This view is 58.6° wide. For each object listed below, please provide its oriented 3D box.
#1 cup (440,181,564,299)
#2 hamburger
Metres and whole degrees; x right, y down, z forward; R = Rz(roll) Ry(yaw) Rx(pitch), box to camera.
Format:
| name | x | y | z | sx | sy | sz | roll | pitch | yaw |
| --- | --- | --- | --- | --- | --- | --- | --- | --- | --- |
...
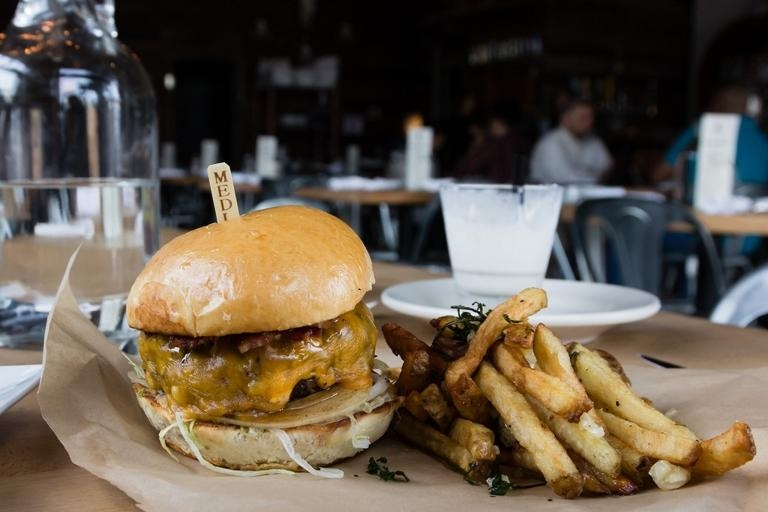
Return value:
| name | x | y | z | sx | sy | sz | roll | pitch | yaw |
| --- | --- | --- | --- | --- | --- | --- | --- | --- | --- |
| cup | 0.304 | -0.044 | 1.774 | 0.221 | 0.316 | 0.244 | 1 | 2 | -26 |
| hamburger | -0.216 | 0.153 | 1.388 | 0.562 | 0.479 | 0.433 | -3 | -2 | -44 |
